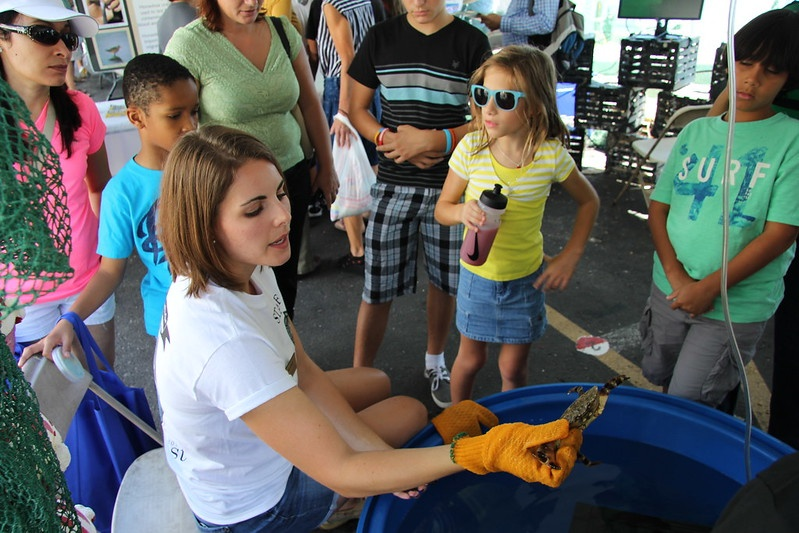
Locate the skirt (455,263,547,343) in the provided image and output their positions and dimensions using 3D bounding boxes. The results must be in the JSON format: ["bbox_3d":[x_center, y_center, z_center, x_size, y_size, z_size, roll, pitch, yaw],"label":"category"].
[{"bbox_3d":[0.486,0.187,2.943,0.531,0.520,0.333,1,13,4],"label":"skirt"}]

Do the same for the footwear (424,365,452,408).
[{"bbox_3d":[0.237,0.715,3.435,0.094,0.093,0.253,-12,33,-14],"label":"footwear"}]

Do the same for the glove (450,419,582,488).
[{"bbox_3d":[0.368,0.570,1.802,0.412,0.187,0.193,3,22,7],"label":"glove"}]

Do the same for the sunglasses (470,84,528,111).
[{"bbox_3d":[0.440,-0.762,2.575,0.238,0.105,0.102,4,22,10],"label":"sunglasses"}]

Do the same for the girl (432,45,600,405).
[{"bbox_3d":[0.571,0.024,2.755,0.864,1.983,0.706,-1,11,-8],"label":"girl"}]
